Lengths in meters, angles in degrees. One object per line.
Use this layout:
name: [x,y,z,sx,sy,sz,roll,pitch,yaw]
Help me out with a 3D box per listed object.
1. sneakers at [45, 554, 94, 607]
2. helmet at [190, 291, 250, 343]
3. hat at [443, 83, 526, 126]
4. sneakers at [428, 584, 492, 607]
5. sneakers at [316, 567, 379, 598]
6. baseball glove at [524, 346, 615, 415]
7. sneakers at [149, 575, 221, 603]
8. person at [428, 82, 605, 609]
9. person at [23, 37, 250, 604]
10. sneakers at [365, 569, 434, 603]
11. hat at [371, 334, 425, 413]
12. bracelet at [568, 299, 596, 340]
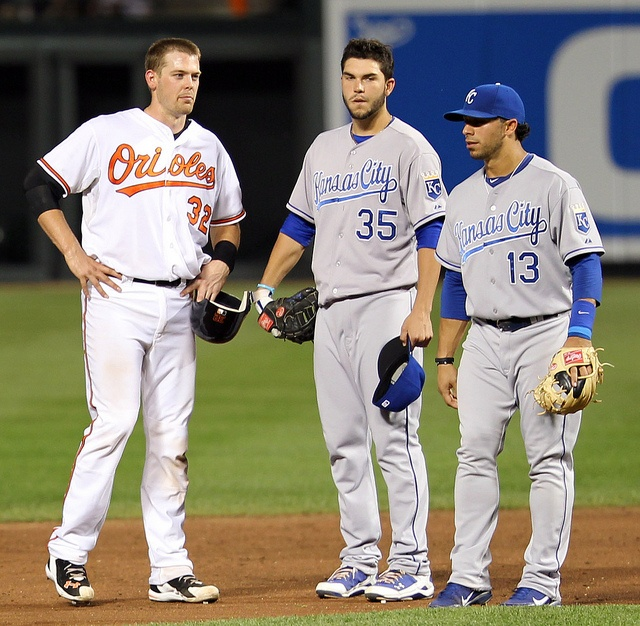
sneakers: [-1.226,1.269,6.776,0.120,0.178,0.329,-7,33,-45]
helmet: [-0.516,0.032,7.048,0.209,0.230,0.290,12,21,-24]
hat: [0.807,-0.995,6.566,0.280,0.177,0.209,5,3,-1]
sneakers: [0.657,1.329,6.464,0.276,0.147,0.116,0,-15,-11]
sneakers: [0.131,1.325,6.807,0.311,0.143,0.128,1,-14,-17]
baseball glove: [1.121,0.290,6.292,0.250,0.357,0.171,17,16,-29]
sneakers: [-0.669,1.355,6.826,0.324,0.170,0.132,-3,-7,15]
person: [0.895,0.158,6.453,0.869,2.421,0.463,6,7,24]
person: [-0.924,0.014,6.855,1.034,2.754,0.694,2,6,-10]
sneakers: [0.402,1.327,6.670,0.348,0.192,0.136,6,-18,-20]
hat: [0.372,0.314,6.649,0.183,0.378,0.222,29,-21,-29]
bracelet: [1.206,0.031,6.304,0.109,0.195,0.116,17,-20,-17]
